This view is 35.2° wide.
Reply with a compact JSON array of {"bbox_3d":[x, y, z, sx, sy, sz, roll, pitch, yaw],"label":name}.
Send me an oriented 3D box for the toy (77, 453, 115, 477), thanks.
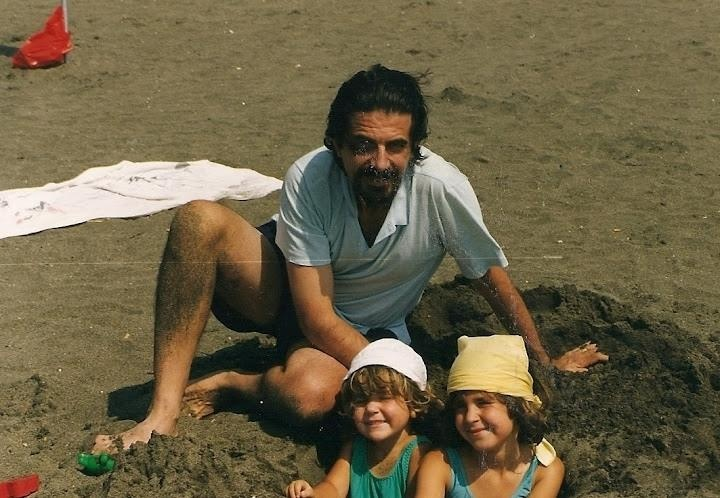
[{"bbox_3d":[-1.700,1.389,7.320,0.268,0.122,0.098,5,4,6],"label":"toy"}]
